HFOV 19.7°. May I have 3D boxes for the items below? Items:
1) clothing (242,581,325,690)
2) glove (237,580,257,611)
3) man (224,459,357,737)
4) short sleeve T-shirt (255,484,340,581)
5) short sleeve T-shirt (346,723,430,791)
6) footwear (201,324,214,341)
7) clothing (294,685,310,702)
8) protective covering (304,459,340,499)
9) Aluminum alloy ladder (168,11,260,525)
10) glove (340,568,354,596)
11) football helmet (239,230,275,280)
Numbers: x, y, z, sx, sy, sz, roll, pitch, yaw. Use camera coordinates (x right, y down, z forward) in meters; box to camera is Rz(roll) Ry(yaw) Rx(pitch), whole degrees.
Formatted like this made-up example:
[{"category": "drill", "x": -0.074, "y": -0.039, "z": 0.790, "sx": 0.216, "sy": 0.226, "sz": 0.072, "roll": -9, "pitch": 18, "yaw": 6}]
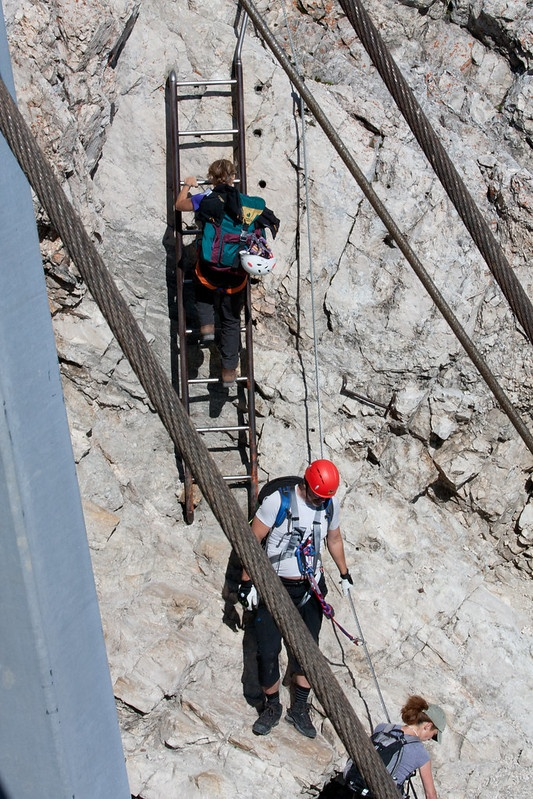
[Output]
[{"category": "clothing", "x": 0.174, "y": 1.539, "z": 10.101, "sx": 0.405, "sy": 1.038, "sz": 0.294, "roll": -18, "pitch": 33, "yaw": -14}, {"category": "glove", "x": -0.115, "y": 1.279, "z": 9.870, "sx": 0.100, "sy": 0.294, "sz": 0.264, "roll": -9, "pitch": -5, "yaw": -6}, {"category": "man", "x": 0.247, "y": 1.261, "z": 9.938, "sx": 0.666, "sy": 2.113, "sz": 0.605, "roll": 10, "pitch": 22, "yaw": 16}, {"category": "short sleeve T-shirt", "x": 0.204, "y": 0.889, "z": 9.889, "sx": 0.507, "sy": 0.652, "sz": 0.577, "roll": 3, "pitch": 2, "yaw": -17}, {"category": "short sleeve T-shirt", "x": 0.755, "y": 2.263, "z": 9.495, "sx": 0.518, "sy": 0.428, "sz": 0.317, "roll": 5, "pitch": 6, "yaw": 6}, {"category": "footwear", "x": -0.401, "y": -0.426, "z": 10.512, "sx": 0.075, "sy": 0.099, "sz": 0.101, "roll": 1, "pitch": 53, "yaw": -1}, {"category": "clothing", "x": 0.251, "y": 1.973, "z": 10.180, "sx": 0.089, "sy": 0.170, "sz": 0.111, "roll": 2, "pitch": 39, "yaw": -1}, {"category": "protective covering", "x": 0.355, "y": 0.533, "z": 9.622, "sx": 0.212, "sy": 0.238, "sz": 0.206, "roll": 0, "pitch": 7, "yaw": -29}, {"category": "Aluminum alloy ladder", "x": -0.333, "y": -0.994, "z": 10.887, "sx": 0.560, "sy": 3.858, "sz": 0.810, "roll": 0, "pitch": -2, "yaw": -6}, {"category": "glove", "x": 0.541, "y": 1.250, "z": 10.273, "sx": 0.088, "sy": 0.182, "sz": 0.054, "roll": -21, "pitch": 24, "yaw": -38}, {"category": "football helmet", "x": -0.023, "y": -0.928, "z": 10.023, "sx": 0.250, "sy": 0.252, "sz": 0.193, "roll": 17, "pitch": 6, "yaw": 34}]
